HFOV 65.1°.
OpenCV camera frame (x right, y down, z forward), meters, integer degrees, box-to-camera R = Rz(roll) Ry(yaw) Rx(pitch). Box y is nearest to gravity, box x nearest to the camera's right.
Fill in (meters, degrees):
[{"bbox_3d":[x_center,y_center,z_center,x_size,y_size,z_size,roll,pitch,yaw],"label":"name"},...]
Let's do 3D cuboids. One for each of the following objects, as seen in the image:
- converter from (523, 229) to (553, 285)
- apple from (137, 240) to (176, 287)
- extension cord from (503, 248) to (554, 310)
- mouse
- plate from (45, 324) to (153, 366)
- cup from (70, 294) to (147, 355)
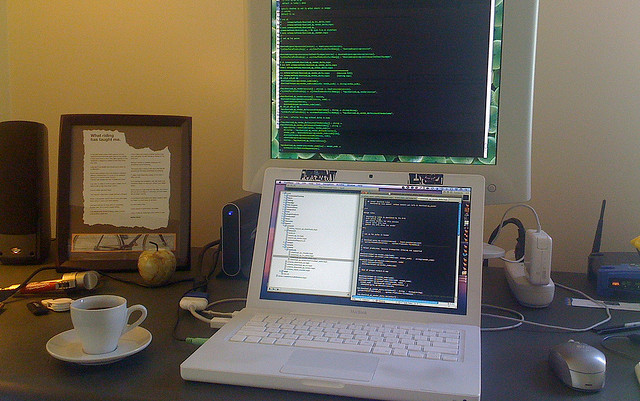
[{"bbox_3d":[0.582,0.153,1.347,0.054,0.143,0.146,1,8,14],"label":"converter"},{"bbox_3d":[-0.484,0.186,1.497,0.111,0.120,0.111,10,9,37],"label":"apple"},{"bbox_3d":[0.567,0.212,1.388,0.129,0.120,0.151,3,14,6],"label":"extension cord"},{"bbox_3d":[0.575,0.367,1.118,0.114,0.086,0.078,3,9,25],"label":"mouse"},{"bbox_3d":[-0.516,0.297,1.162,0.208,0.076,0.186,-3,25,-32],"label":"plate"},{"bbox_3d":[-0.526,0.281,1.264,0.224,0.124,0.171,0,1,-31],"label":"cup"}]
